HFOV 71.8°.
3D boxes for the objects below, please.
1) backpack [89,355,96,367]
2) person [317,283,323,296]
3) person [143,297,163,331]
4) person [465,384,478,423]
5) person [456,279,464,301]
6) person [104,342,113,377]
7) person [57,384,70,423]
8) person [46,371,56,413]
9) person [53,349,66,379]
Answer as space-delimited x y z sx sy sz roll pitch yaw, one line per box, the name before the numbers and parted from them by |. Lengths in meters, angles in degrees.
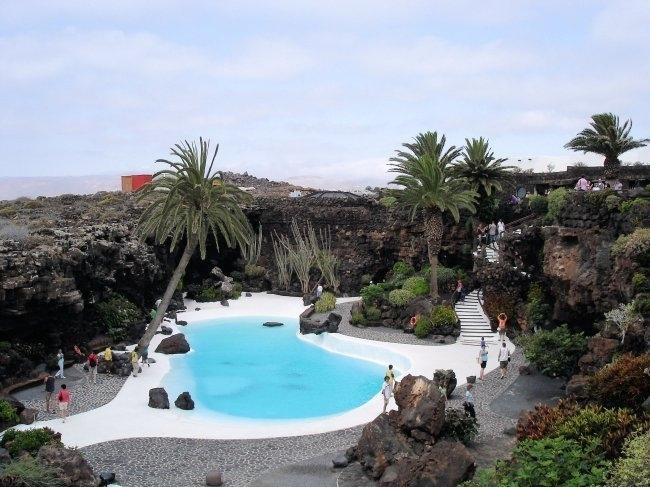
backpack | -9.649 4.931 18.735 0.289 0.610 0.376 -2 7 -31
person | -0.379 3.137 30.135 0.240 0.863 0.347 -4 -7 1
person | -9.331 3.863 24.336 0.285 2.034 0.262 31 -22 -24
person | 4.787 5.305 14.798 0.393 1.215 0.317 -6 40 4
person | 7.845 2.806 26.312 0.362 1.150 0.713 7 8 37
person | -9.394 5.068 19.544 0.381 0.945 0.883 -1 7 -26
person | -8.969 5.341 15.430 0.334 1.183 1.158 -2 7 -31
person | -9.675 5.289 15.857 0.245 1.106 0.556 -2 7 -32
person | -11.103 4.953 18.845 0.334 1.080 1.338 -2 7 -32
